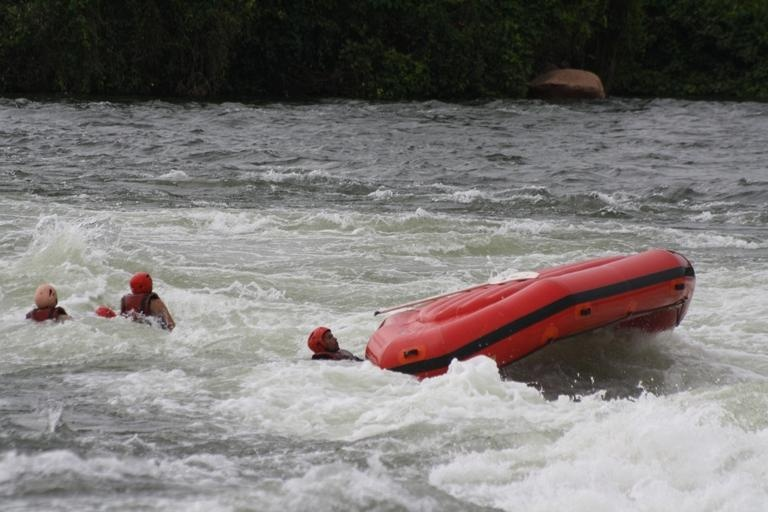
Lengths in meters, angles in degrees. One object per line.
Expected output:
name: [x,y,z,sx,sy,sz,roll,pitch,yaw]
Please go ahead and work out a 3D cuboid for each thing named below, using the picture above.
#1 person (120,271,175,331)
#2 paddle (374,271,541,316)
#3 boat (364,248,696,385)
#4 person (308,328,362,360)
person: [-4.682,0.919,22.154,1.148,1.076,0.418,3,12,2]
paddle: [0.831,0.924,22.215,3.410,0.318,0.148,-17,-55,45]
boat: [2.740,1.082,21.328,5.699,1.102,2.740,-9,1,-4]
person: [-0.820,1.693,21.304,1.337,0.437,0.688,6,17,19]
